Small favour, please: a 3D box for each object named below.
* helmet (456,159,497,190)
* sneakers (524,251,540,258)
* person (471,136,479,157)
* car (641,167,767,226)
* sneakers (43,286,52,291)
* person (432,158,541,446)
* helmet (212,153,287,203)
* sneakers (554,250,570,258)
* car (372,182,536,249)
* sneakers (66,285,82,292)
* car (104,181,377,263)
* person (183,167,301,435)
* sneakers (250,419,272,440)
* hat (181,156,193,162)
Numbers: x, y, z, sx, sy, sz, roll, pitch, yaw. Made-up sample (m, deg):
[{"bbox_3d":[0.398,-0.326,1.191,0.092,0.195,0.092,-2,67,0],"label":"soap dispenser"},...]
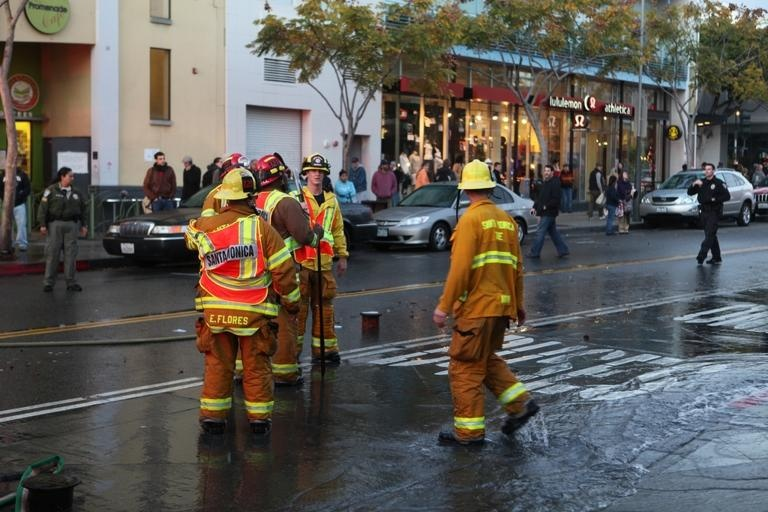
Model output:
[{"bbox_3d":[0.932,-0.822,9.439,0.295,0.199,0.362,-1,11,4],"label":"helmet"},{"bbox_3d":[3.338,-0.005,20.995,0.306,0.124,0.116,7,1,-20],"label":"sneakers"},{"bbox_3d":[3.564,-4.281,36.198,0.175,0.862,0.586,6,12,30],"label":"person"},{"bbox_3d":[10.582,-1.899,30.533,4.220,1.630,1.881,-1,1,-43],"label":"car"},{"bbox_3d":[-5.792,0.568,16.085,0.148,0.083,0.191,-3,12,-20],"label":"sneakers"},{"bbox_3d":[1.021,0.456,9.309,1.060,2.743,0.804,-1,11,-5],"label":"person"},{"bbox_3d":[-1.335,-0.736,9.785,0.702,0.264,0.473,-30,36,-31],"label":"helmet"},{"bbox_3d":[4.058,-0.019,21.350,0.116,0.128,0.303,-5,-1,-36],"label":"sneakers"},{"bbox_3d":[1.722,-0.974,23.085,4.043,1.251,1.674,-3,3,-39],"label":"car"},{"bbox_3d":[-5.357,0.572,16.106,0.218,0.073,0.130,2,2,-13],"label":"sneakers"},{"bbox_3d":[-2.881,-0.423,20.119,5.453,1.502,2.171,-2,2,-45],"label":"car"},{"bbox_3d":[-1.419,0.467,9.454,1.092,2.568,0.762,-2,11,-12],"label":"person"},{"bbox_3d":[-1.237,1.740,9.357,0.100,0.117,0.281,2,3,9],"label":"sneakers"},{"bbox_3d":[-4.938,-2.433,23.466,0.266,0.176,0.345,-5,14,-20],"label":"hat"}]
